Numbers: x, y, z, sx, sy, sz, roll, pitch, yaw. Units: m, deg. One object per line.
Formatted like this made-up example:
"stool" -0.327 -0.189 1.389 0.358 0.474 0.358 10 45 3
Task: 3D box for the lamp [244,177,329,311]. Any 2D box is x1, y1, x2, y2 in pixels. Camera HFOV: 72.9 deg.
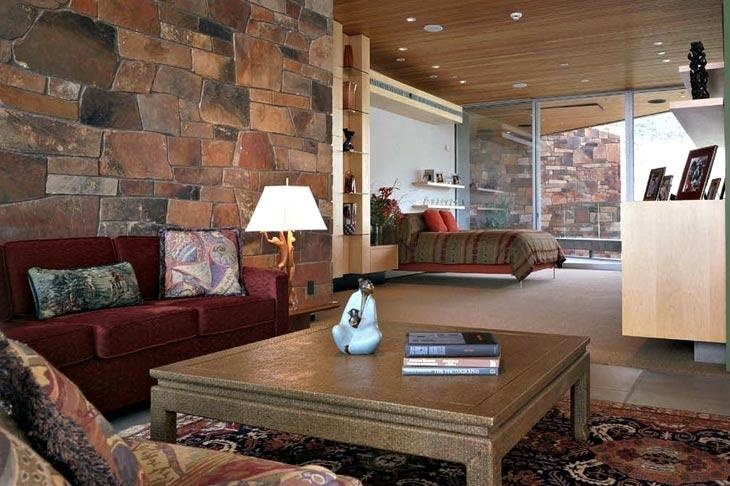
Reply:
"lamp" -0.635 0.035 3.913 0.677 0.908 0.696 -1 0 42

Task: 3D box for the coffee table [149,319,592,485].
"coffee table" -0.044 0.523 1.750 1.006 0.234 0.931 0 2 29

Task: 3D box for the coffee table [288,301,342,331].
"coffee table" -0.508 0.691 4.819 0.560 0.204 0.717 6 -4 -9

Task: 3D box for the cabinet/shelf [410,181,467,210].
"cabinet/shelf" 1.530 -0.967 10.222 0.572 0.561 2.099 2 5 22

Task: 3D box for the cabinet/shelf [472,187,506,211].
"cabinet/shelf" 2.722 -0.968 11.022 0.985 0.572 0.511 -4 6 -41

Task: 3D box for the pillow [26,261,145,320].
"pillow" -1.693 0.277 3.004 0.219 0.281 0.646 -20 -6 28

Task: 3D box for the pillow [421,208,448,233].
"pillow" 1.179 -0.380 8.506 0.465 0.385 0.129 2 -26 -44

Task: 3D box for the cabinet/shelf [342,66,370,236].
"cabinet/shelf" -0.124 -1.296 7.089 0.380 2.351 0.608 0 5 0
